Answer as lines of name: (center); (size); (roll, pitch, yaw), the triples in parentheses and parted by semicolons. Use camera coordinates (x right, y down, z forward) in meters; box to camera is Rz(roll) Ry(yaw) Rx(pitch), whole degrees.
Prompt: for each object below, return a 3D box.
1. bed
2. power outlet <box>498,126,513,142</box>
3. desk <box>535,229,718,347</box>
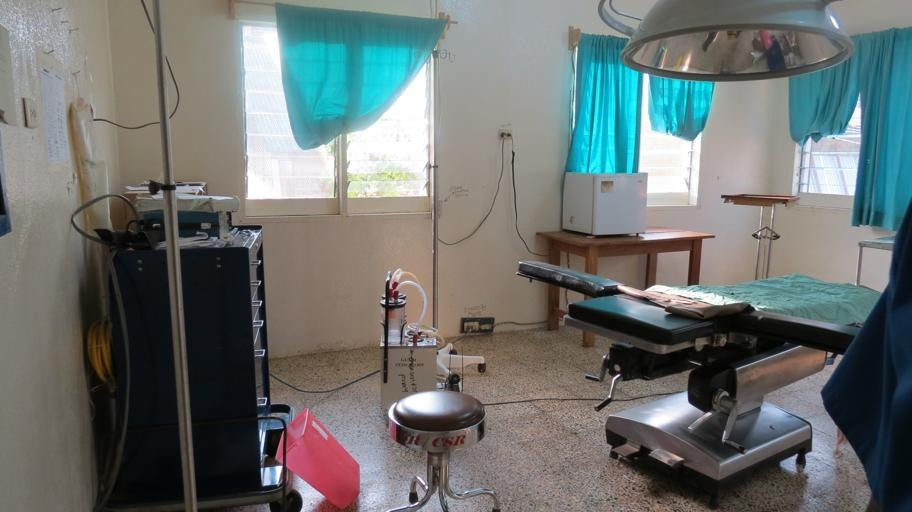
bed: (1.891, 0.714, 4.481); (2.212, 1.096, 1.064); (-10, 13, -37)
power outlet: (0.456, -1.132, 5.938); (0.145, 0.128, 0.044); (4, 10, -19)
desk: (1.634, 0.236, 6.237); (1.618, 0.922, 0.788); (-4, 9, -25)
